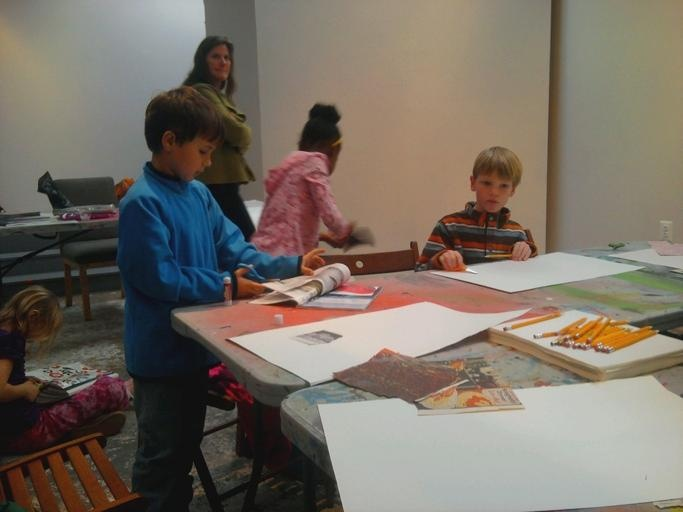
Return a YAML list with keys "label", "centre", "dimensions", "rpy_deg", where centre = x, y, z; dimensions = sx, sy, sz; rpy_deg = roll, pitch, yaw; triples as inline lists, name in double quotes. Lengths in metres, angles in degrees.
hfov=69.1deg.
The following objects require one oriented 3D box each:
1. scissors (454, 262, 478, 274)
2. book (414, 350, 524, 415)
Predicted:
- label: "scissors"
  centre: [0.389, 0.035, 1.531]
  dimensions: [0.029, 0.011, 0.052]
  rpy_deg: [-15, 24, -42]
- label: "book"
  centre: [0.197, 0.215, 0.842]
  dimensions: [0.168, 0.031, 0.159]
  rpy_deg: [-3, 8, -3]
